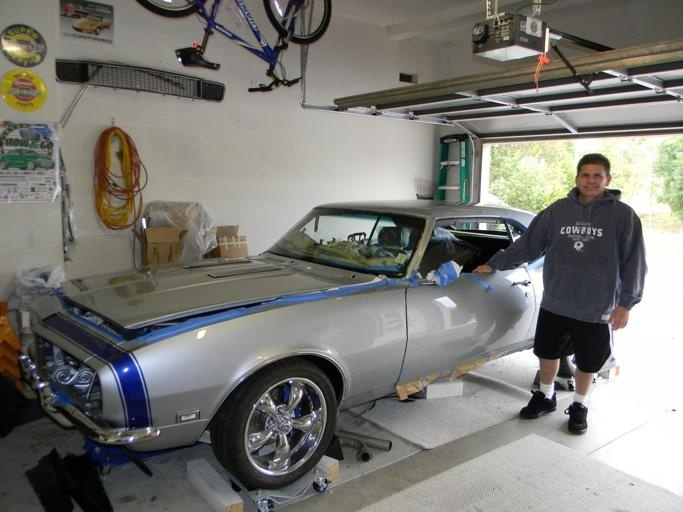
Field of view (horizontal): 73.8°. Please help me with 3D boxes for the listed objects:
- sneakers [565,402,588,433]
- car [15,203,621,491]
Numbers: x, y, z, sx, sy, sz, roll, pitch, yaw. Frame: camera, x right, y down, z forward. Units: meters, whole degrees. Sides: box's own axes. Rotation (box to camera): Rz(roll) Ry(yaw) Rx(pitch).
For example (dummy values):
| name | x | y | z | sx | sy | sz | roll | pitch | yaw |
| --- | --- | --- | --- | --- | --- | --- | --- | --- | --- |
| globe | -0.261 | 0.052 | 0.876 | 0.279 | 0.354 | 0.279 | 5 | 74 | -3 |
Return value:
| name | x | y | z | sx | sy | sz | roll | pitch | yaw |
| --- | --- | --- | --- | --- | --- | --- | --- | --- | --- |
| sneakers | 1.921 | 1.311 | 3.717 | 0.116 | 0.121 | 0.294 | 1 | 10 | 19 |
| car | -0.062 | 0.377 | 3.823 | 4.290 | 1.591 | 1.873 | -10 | 16 | -37 |
